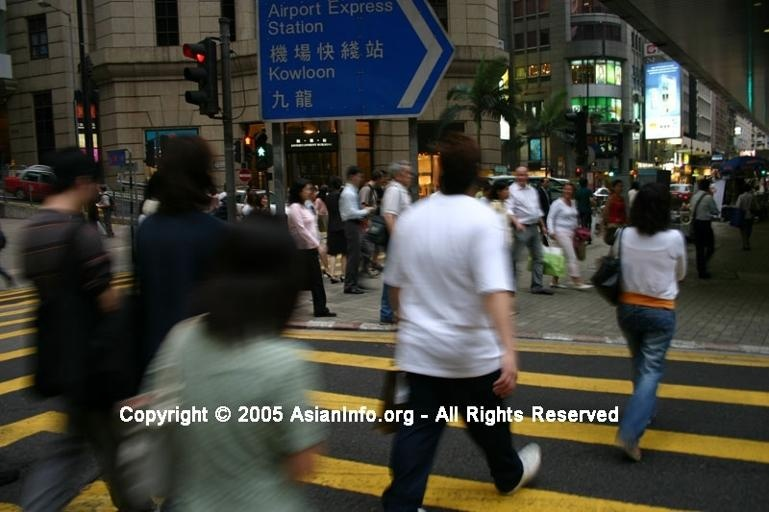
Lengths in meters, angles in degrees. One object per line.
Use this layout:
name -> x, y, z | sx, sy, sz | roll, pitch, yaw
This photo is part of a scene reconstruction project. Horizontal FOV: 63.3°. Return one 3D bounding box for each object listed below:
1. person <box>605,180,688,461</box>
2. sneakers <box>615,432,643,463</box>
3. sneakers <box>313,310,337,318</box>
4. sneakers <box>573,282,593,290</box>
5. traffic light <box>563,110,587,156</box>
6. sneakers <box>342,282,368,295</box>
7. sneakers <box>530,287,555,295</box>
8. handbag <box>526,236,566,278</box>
person -> 2.128, 0.521, 5.198 | 0.499, 2.209, 0.790 | 4, 9, 38
sneakers -> 2.003, 1.568, 5.094 | 0.110, 0.166, 0.346 | 0, 0, 14
sneakers -> -0.914, 0.914, 9.913 | 0.352, 0.152, 0.124 | -1, 2, -12
sneakers -> 3.846, 0.594, 12.209 | 0.298, 0.117, 0.175 | 0, 5, 30
traffic light -> 5.488, -3.549, 17.770 | 0.561, 1.314, 2.207 | 1, 9, 17
sneakers -> -0.573, 0.637, 12.150 | 0.365, 0.178, 0.186 | -1, 6, 3
sneakers -> 2.983, 0.658, 11.755 | 0.430, 0.200, 0.167 | -1, 4, 2
handbag -> 3.047, 0.014, 11.765 | 0.373, 0.917, 0.716 | -35, 26, -32
